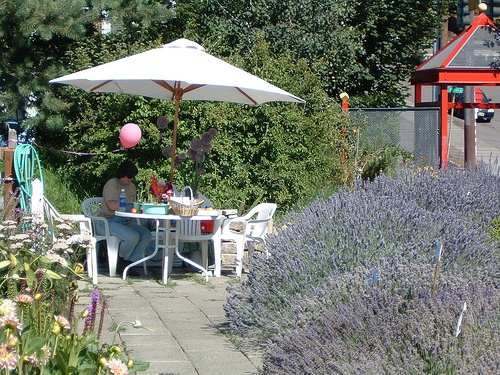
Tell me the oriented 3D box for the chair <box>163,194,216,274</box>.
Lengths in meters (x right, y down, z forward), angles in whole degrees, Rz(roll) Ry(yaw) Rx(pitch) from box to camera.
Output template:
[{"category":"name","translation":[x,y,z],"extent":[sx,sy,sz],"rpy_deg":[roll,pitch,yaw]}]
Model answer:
[{"category":"chair","translation":[-0.764,0.668,13.250],"extent":[0.859,1.267,0.914],"rpy_deg":[-2,6,-15]}]

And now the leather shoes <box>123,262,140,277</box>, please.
[{"category":"leather shoes","translation":[-1.724,1.203,13.310],"extent":[0.171,0.261,0.218],"rpy_deg":[0,-16,-4]}]

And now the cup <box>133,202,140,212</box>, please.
[{"category":"cup","translation":[-1.587,0.293,12.852],"extent":[0.100,0.129,0.325],"rpy_deg":[0,4,-8]}]

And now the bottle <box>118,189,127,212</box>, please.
[{"category":"bottle","translation":[-1.814,0.189,13.042],"extent":[0.097,0.292,0.246],"rpy_deg":[0,3,-9]}]

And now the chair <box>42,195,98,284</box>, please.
[{"category":"chair","translation":[-2.416,0.751,12.365],"extent":[0.743,1.174,2.530],"rpy_deg":[0,4,-11]}]

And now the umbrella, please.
[{"category":"umbrella","translation":[-1.039,-1.090,13.214],"extent":[3.033,2.086,2.081],"rpy_deg":[1,3,2]}]

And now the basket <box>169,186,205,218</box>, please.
[{"category":"basket","translation":[-0.916,0.214,12.674],"extent":[0.376,0.385,0.429],"rpy_deg":[2,-3,-13]}]
